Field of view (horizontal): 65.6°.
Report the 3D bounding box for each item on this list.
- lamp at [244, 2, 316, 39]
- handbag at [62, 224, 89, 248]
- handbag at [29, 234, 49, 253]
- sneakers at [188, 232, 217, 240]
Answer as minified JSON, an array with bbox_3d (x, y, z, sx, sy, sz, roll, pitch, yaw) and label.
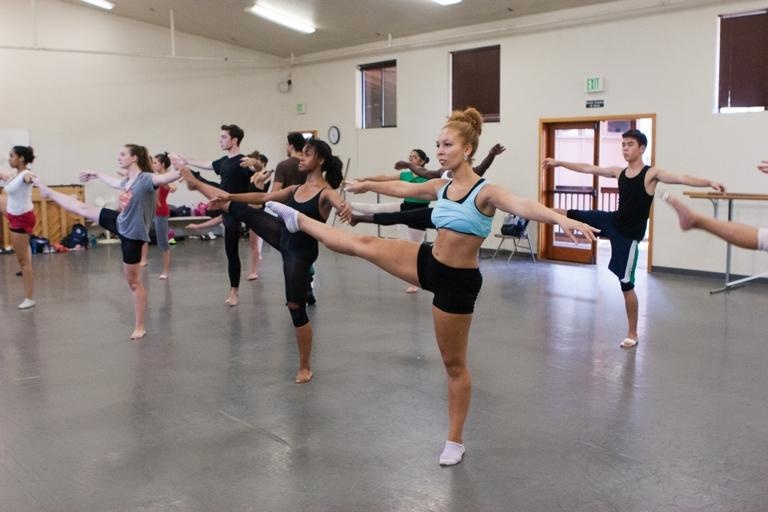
[{"bbox_3d":[-1.953,-4.747,11.810,1.396,0.387,0.700,-9,14,-37],"label":"lamp"},{"bbox_3d":[-6.014,-0.386,11.716,0.358,0.379,0.530,15,7,-16],"label":"handbag"},{"bbox_3d":[-6.467,-0.219,11.109,0.303,0.364,0.382,3,-8,-30],"label":"handbag"},{"bbox_3d":[-4.023,-0.437,13.236,0.387,0.141,0.113,8,17,5],"label":"sneakers"}]
